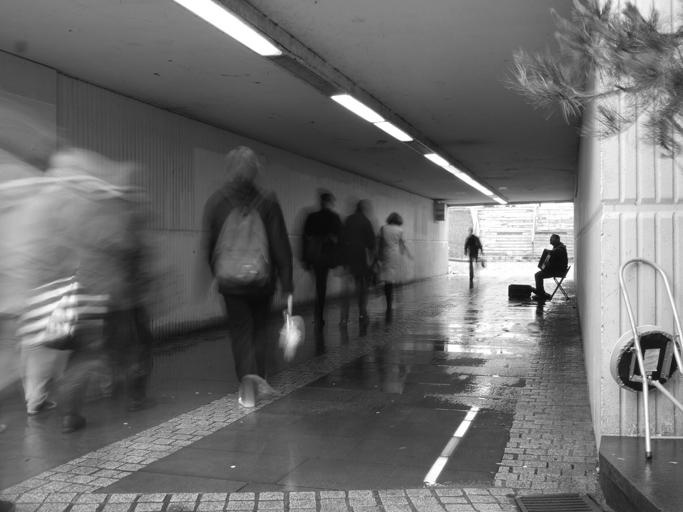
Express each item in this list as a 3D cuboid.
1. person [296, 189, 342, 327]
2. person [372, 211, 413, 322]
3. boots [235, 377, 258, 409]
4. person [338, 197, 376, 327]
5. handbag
[{"bbox_3d":[-0.377,0.106,9.495,0.731,2.610,0.610,0,1,13],"label":"person"},{"bbox_3d":[1.158,0.207,12.271,0.617,2.546,1.286,0,1,17],"label":"person"},{"bbox_3d":[-0.996,1.442,5.325,0.160,0.341,0.348,4,-6,-19],"label":"boots"},{"bbox_3d":[0.374,0.181,10.107,0.544,2.620,1.168,0,1,8],"label":"person"},{"bbox_3d":[-2.534,0.519,4.485,0.906,0.687,0.325,1,1,28],"label":"handbag"}]
